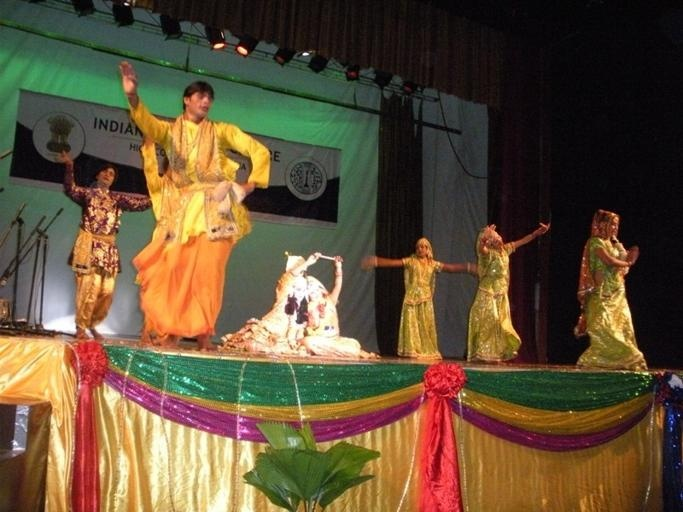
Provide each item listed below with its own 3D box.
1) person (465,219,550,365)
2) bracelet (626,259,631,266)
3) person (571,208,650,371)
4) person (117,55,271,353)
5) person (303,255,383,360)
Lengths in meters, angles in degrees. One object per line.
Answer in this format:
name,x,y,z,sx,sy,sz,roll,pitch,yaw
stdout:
person,2.109,0.478,8.086,0.925,2.388,1.538,-2,-6,22
bracelet,3.003,0.076,6.841,0.043,0.050,0.011,12,-6,5
person,2.823,0.327,6.964,0.660,1.777,0.621,-2,-13,22
person,-1.288,-0.335,5.535,1.178,2.202,0.659,8,-13,-21
person,-0.153,0.472,6.196,0.597,0.910,0.549,-4,13,-9
